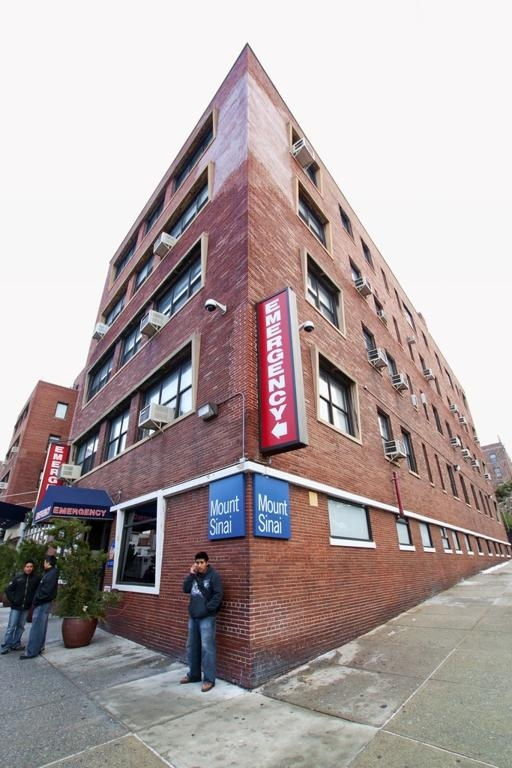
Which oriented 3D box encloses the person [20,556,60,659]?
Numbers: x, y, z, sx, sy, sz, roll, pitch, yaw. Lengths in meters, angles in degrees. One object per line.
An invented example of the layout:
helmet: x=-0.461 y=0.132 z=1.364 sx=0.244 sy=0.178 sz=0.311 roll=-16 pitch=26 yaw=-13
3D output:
person: x=-4.168 y=4.337 z=7.280 sx=0.396 sy=1.747 sz=0.892 roll=12 pitch=-30 yaw=-23

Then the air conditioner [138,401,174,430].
air conditioner: x=-2.608 y=0.867 z=9.781 sx=0.832 sy=0.566 sz=1.144 roll=23 pitch=-24 yaw=-33

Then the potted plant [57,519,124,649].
potted plant: x=-3.863 y=4.400 z=8.261 sx=1.457 sy=2.545 sz=0.866 roll=14 pitch=-32 yaw=-28

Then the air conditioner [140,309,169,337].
air conditioner: x=-3.233 y=-1.954 z=11.867 sx=0.580 sy=0.681 sz=1.142 roll=19 pitch=-31 yaw=-35

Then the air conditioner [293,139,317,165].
air conditioner: x=1.597 y=-7.701 z=12.431 sx=0.579 sy=0.607 sz=0.809 roll=-13 pitch=-27 yaw=23

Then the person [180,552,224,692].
person: x=-0.810 y=3.526 z=5.621 sx=0.510 sy=1.757 sz=0.690 roll=16 pitch=-33 yaw=-29

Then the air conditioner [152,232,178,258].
air conditioner: x=-3.206 y=-4.966 z=13.091 sx=0.488 sy=0.898 sz=1.023 roll=15 pitch=-29 yaw=-28

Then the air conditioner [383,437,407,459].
air conditioner: x=4.732 y=2.245 z=12.714 sx=0.546 sy=0.560 sz=1.015 roll=-21 pitch=-27 yaw=39

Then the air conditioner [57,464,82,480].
air conditioner: x=-7.563 y=3.610 z=15.076 sx=1.009 sy=0.508 sz=0.505 roll=-10 pitch=-30 yaw=40

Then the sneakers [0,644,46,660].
sneakers: x=-4.407 y=5.084 z=7.004 sx=0.456 sy=0.297 sz=0.147 roll=37 pitch=-87 yaw=-24

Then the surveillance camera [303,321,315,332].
surveillance camera: x=1.277 y=-1.389 z=8.989 sx=0.334 sy=0.272 sz=0.298 roll=3 pitch=-41 yaw=6

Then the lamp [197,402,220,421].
lamp: x=-0.963 y=0.590 z=7.693 sx=0.242 sy=0.227 sz=0.414 roll=27 pitch=-37 yaw=-27
